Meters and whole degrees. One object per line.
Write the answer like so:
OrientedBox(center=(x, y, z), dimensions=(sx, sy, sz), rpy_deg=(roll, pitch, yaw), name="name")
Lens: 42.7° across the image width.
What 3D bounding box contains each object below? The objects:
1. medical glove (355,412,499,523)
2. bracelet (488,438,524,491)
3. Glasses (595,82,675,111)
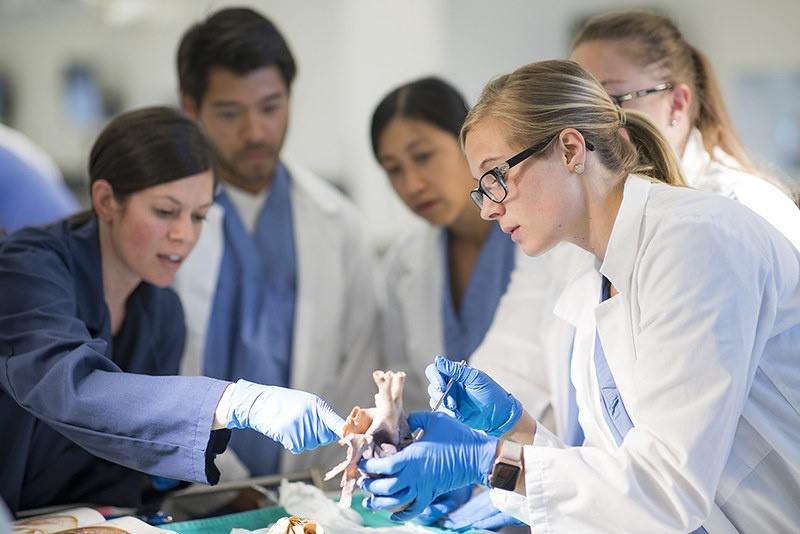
OrientedBox(center=(0.080, 0.642, 3.299), dimensions=(0.377, 0.141, 0.310), rpy_deg=(-13, -24, -12), name="medical glove")
OrientedBox(center=(0.342, 0.625, 3.210), dimensions=(0.099, 0.162, 0.136), rpy_deg=(8, 33, 2), name="bracelet")
OrientedBox(center=(0.880, -0.651, 3.874), dimensions=(0.166, 0.054, 0.169), rpy_deg=(-22, 9, -5), name="Glasses")
